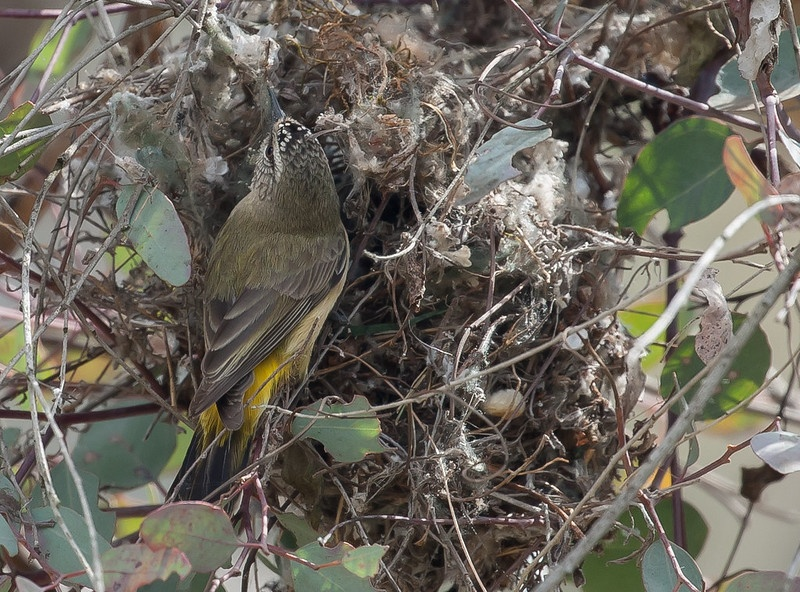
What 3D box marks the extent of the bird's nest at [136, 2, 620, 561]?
[{"bbox_3d":[0.006,-0.030,3.084,1.321,1.282,0.956,19,28,22],"label":"bird's nest"}]
